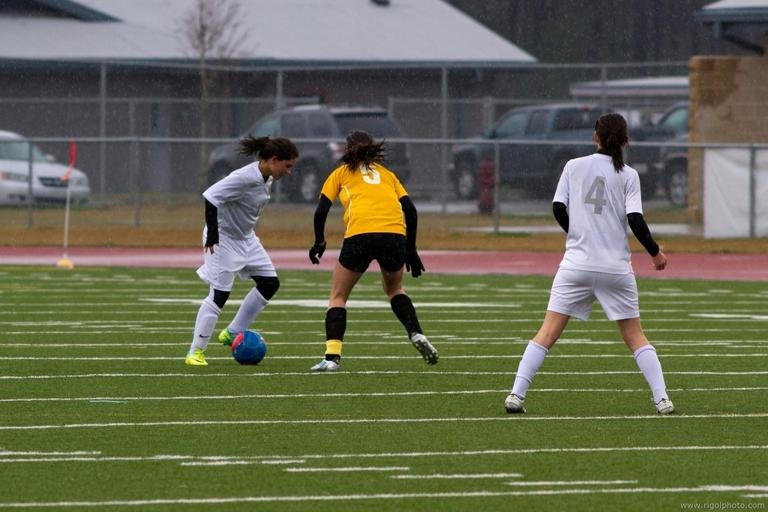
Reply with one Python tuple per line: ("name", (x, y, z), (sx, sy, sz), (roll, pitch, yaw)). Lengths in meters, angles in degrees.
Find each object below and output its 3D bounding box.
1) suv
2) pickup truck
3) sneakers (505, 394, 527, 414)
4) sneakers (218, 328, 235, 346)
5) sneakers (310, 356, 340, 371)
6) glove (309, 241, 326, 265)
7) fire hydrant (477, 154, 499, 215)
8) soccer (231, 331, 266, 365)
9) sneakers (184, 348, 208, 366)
("suv", (-2.002, -2.765, 43.413), (4.687, 1.841, 2.533), (2, 3, 14))
("pickup truck", (4.392, -2.860, 43.442), (5.343, 2.083, 2.417), (3, 5, 29))
("sneakers", (1.795, 2.091, 23.786), (0.179, 0.165, 0.377), (2, -8, 15))
("sneakers", (-2.482, 1.264, 26.342), (0.224, 0.134, 0.324), (24, -35, -7))
("sneakers", (-0.899, 1.649, 25.565), (0.485, 0.198, 0.168), (-1, -2, 5))
("glove", (-1.035, -0.068, 25.537), (0.201, 0.392, 0.429), (0, 13, -3))
("fire hydrant", (2.516, -1.828, 42.458), (0.361, 1.458, 0.556), (0, 13, -4))
("soccer", (-2.138, 1.426, 26.169), (0.581, 0.575, 0.530), (5, 8, -26))
("sneakers", (-2.876, 1.559, 25.889), (0.389, 0.183, 0.194), (3, 2, 33))
